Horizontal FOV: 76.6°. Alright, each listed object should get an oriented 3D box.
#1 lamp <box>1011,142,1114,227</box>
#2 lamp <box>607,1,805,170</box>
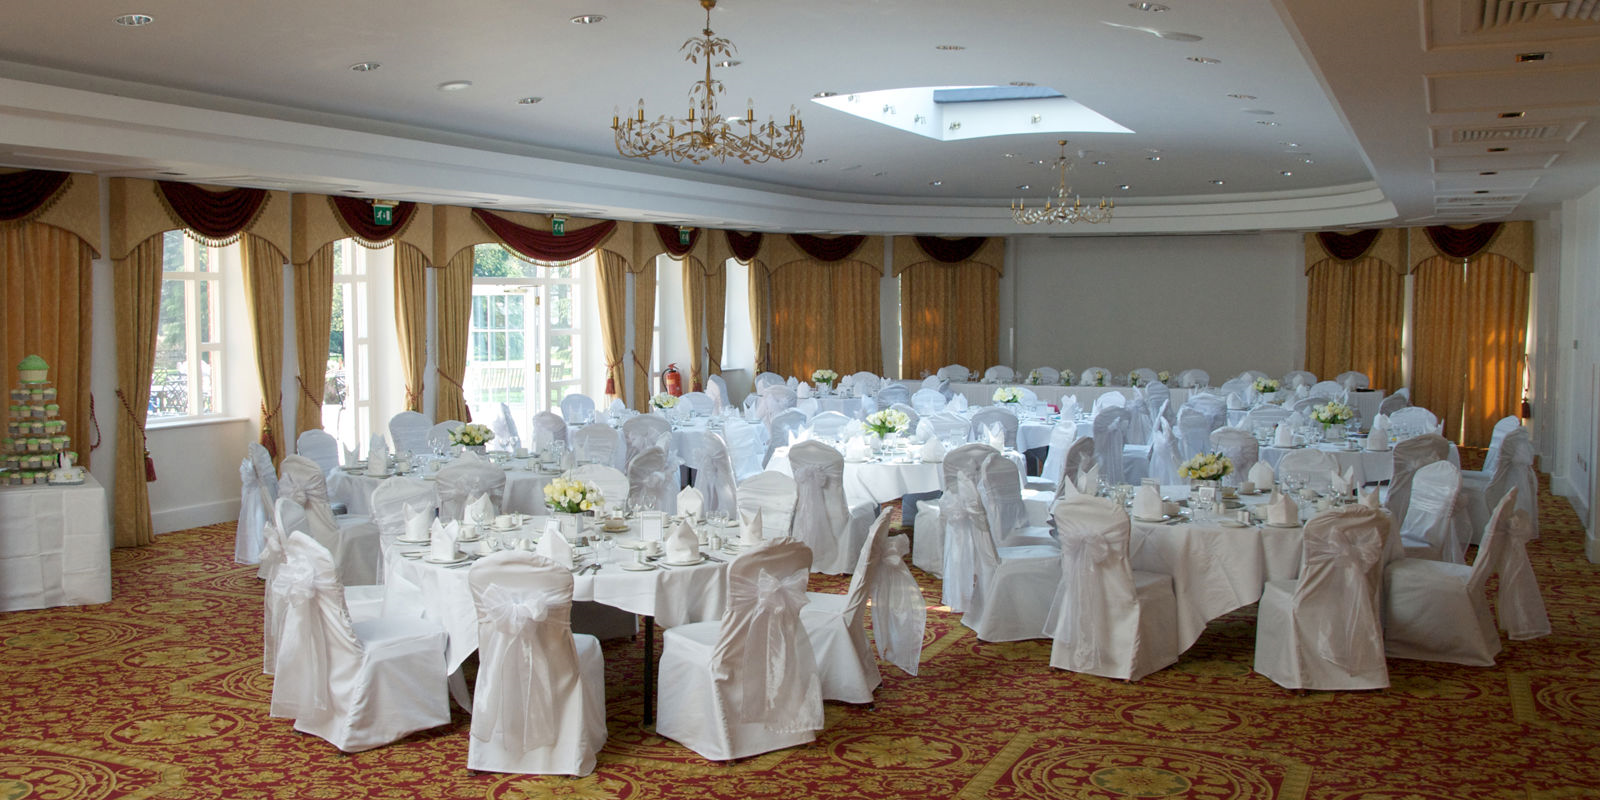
[{"bbox_3d":[5.409,-4.575,21.670,1.864,1.330,1.815,1,4,30],"label":"lamp"},{"bbox_3d":[-1.246,-4.035,14.228,1.994,1.418,1.933,1,-2,-34],"label":"lamp"}]
